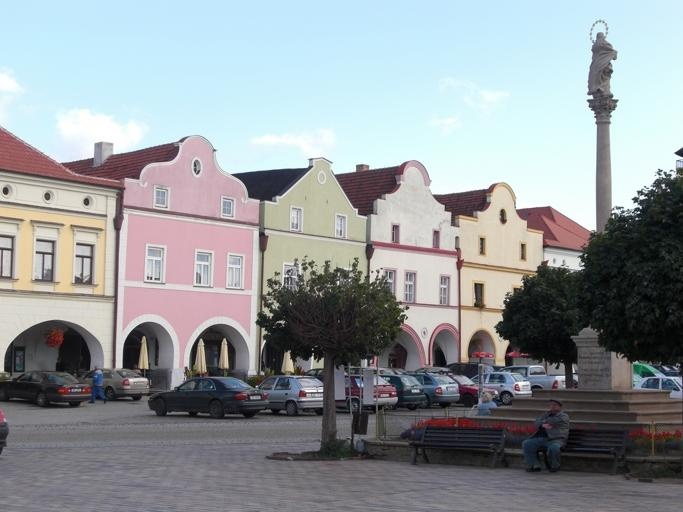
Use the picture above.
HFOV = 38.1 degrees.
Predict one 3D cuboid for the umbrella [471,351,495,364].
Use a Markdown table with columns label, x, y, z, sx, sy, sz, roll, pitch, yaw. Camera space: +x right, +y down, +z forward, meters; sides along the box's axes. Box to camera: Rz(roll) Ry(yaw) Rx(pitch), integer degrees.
| label | x | y | z | sx | sy | sz | roll | pitch | yaw |
| --- | --- | --- | --- | --- | --- | --- | --- | --- | --- |
| umbrella | 9.356 | 6.854 | 66.519 | 1.486 | 0.954 | 2.435 | -4 | -13 | 17 |

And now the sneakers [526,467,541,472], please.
| label | x | y | z | sx | sy | sz | roll | pitch | yaw |
| --- | --- | --- | --- | --- | --- | --- | --- | --- | --- |
| sneakers | 4.423 | 4.955 | 22.847 | 0.306 | 0.123 | 0.110 | 3 | -3 | 6 |

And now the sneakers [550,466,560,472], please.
| label | x | y | z | sx | sy | sz | roll | pitch | yaw |
| --- | --- | --- | --- | --- | --- | --- | --- | --- | --- |
| sneakers | 4.896 | 4.939 | 22.765 | 0.221 | 0.120 | 0.248 | -1 | -12 | 4 |
